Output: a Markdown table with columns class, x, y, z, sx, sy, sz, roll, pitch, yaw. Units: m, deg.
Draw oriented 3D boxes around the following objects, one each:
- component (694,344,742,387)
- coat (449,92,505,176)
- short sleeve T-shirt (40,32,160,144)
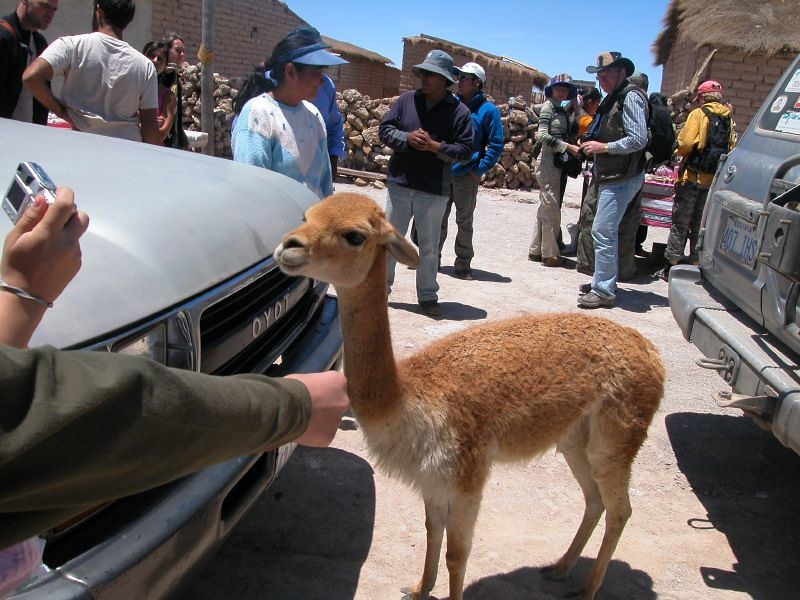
| class | x | y | z | sx | sy | sz | roll | pitch | yaw |
| --- | --- | --- | --- | --- | --- | --- | --- | --- | --- |
| component | 1.900 | 0.395 | 3.460 | 0.195 | 0.196 | 0.285 | -1 | 14 | 5 |
| coat | 1.005 | -2.235 | 7.632 | 0.544 | 1.023 | 1.084 | -18 | 32 | -25 |
| short sleeve T-shirt | -2.430 | -1.650 | 4.618 | 0.837 | 0.879 | 0.479 | 1 | 8 | -44 |
